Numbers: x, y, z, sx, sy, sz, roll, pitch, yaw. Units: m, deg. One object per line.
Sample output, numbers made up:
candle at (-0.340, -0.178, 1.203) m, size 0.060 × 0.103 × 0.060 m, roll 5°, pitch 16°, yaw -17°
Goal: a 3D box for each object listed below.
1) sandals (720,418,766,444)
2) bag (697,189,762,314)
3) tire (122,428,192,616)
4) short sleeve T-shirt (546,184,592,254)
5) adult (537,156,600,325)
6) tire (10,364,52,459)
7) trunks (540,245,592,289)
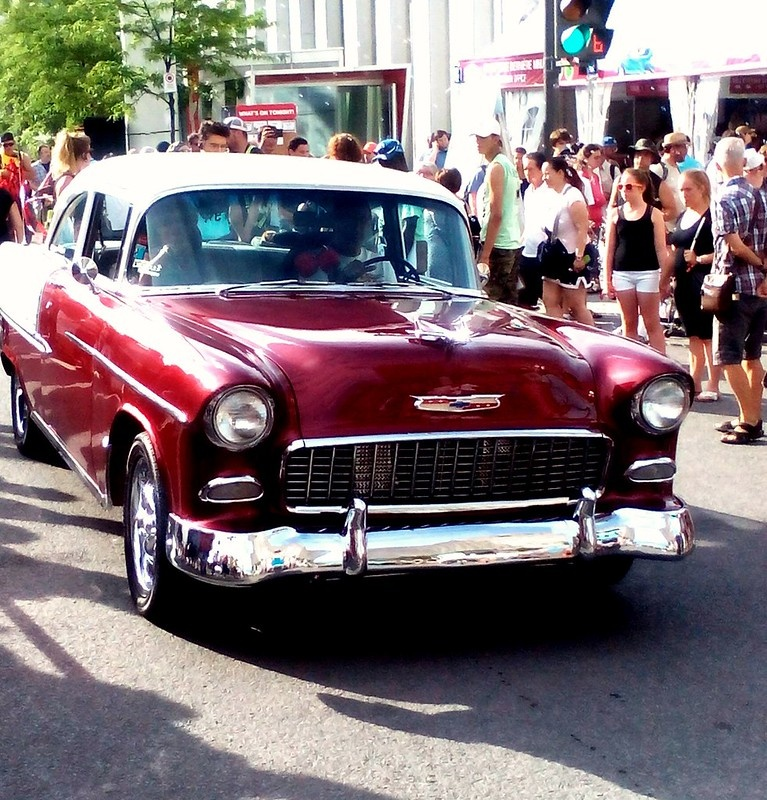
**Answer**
sandals at (2.777, 0.257, 6.360) m, size 0.431 × 0.181 × 0.168 m, roll 1°, pitch 15°, yaw -12°
bag at (2.572, -1.053, 6.173) m, size 0.406 × 0.870 × 0.275 m, roll 2°, pitch 5°, yaw 11°
tire at (-0.784, 0.433, 2.911) m, size 0.126 × 0.709 × 0.572 m, roll -2°, pitch 9°, yaw -22°
short sleeve T-shirt at (1.738, -1.708, 7.974) m, size 0.336 × 0.665 × 0.645 m, roll -13°, pitch 7°, yaw -5°
adult at (1.693, -1.447, 8.251) m, size 0.637 × 1.924 × 0.560 m, roll 1°, pitch 31°, yaw 16°
tire at (-2.176, 0.082, 5.167) m, size 0.186 × 0.541 × 0.497 m, roll 3°, pitch 9°, yaw -34°
trunks at (1.737, -1.246, 7.968) m, size 0.443 × 0.384 × 0.336 m, roll 1°, pitch -5°, yaw 11°
